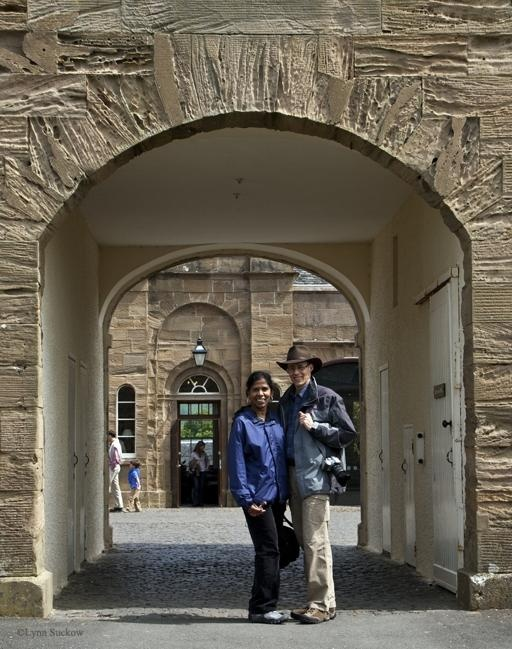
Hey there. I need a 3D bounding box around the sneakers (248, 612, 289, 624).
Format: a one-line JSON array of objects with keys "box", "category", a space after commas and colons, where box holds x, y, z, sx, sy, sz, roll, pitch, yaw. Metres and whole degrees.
[{"box": [0.070, 1.761, 4.528, 0.227, 0.113, 0.084, -4, -6, 10], "category": "sneakers"}]

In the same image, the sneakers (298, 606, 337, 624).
[{"box": [0.382, 1.756, 4.556, 0.257, 0.122, 0.088, 10, -15, -21], "category": "sneakers"}]

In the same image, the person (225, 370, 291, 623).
[{"box": [0.015, 1.058, 4.695, 0.315, 1.515, 0.473, -4, -10, 16], "category": "person"}]

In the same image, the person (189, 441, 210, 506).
[{"box": [-1.615, 4.205, 21.353, 0.566, 1.782, 0.241, 4, -11, -32], "category": "person"}]

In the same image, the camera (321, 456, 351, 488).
[{"box": [0.474, 0.913, 4.632, 0.113, 0.195, 0.089, 5, -55, -33], "category": "camera"}]
